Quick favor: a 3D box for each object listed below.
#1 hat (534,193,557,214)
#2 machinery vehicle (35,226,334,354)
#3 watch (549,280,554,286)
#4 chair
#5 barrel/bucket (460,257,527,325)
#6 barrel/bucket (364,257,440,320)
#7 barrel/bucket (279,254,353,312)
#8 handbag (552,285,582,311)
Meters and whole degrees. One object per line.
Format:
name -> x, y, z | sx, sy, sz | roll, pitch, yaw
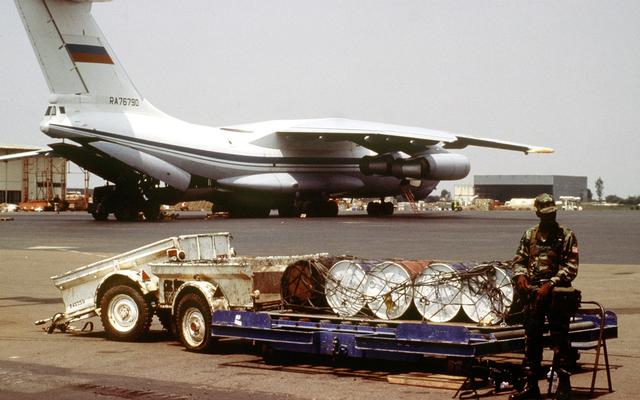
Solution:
hat -> 3.572, 0.054, 12.398 | 0.267, 0.218, 0.371 | 0, 11, 11
machinery vehicle -> -1.497, 1.595, 16.446 | 4.723, 1.970, 6.817 | -8, 5, -35
watch -> 3.587, 1.258, 12.128 | 0.083, 0.086, 0.037 | -2, -3, 13
chair -> 4.289, 2.392, 13.072 | 0.975, 1.486, 0.851 | -4, -11, 22
barrel/bucket -> 2.890, 1.476, 13.373 | 1.255, 1.118, 0.931 | -2, 3, 22
barrel/bucket -> 1.357, 1.513, 14.082 | 1.084, 0.963, 1.639 | 23, 13, 20
barrel/bucket -> 0.033, 1.512, 14.364 | 1.177, 0.962, 1.038 | 4, -10, -29
handbag -> 3.891, 1.540, 12.209 | 0.498, 0.418, 0.222 | 1, -4, -35
